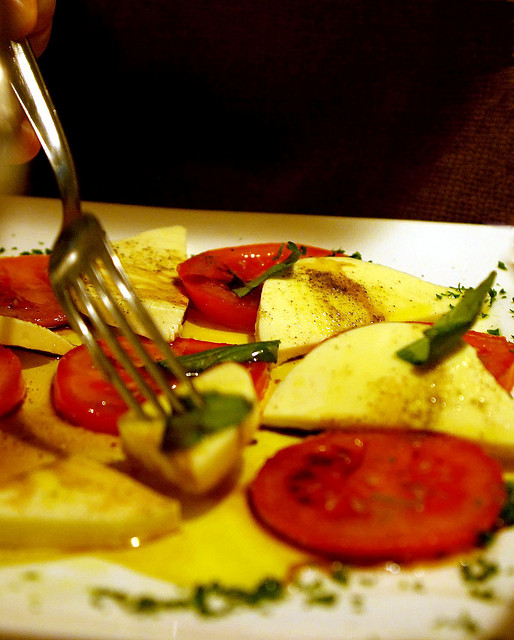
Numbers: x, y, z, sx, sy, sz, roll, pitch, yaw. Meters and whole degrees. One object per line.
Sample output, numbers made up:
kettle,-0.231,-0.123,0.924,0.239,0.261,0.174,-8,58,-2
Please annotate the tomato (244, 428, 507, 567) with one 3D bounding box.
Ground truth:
tomato,0.194,0.282,1.126,0.385,0.165,0.259,15,21,21
